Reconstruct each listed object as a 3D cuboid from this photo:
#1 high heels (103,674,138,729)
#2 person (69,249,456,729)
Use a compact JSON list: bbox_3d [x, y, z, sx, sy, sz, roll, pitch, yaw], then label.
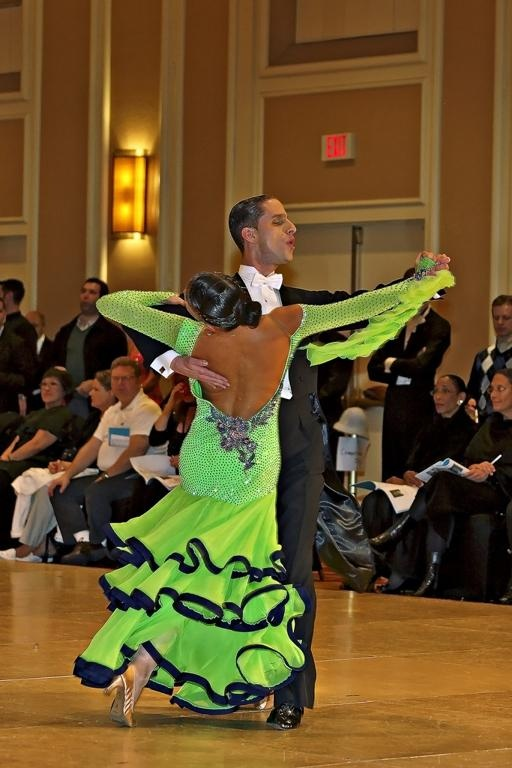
[{"bbox_3d":[-0.329,0.752,1.980,0.082,0.171,0.064,-5,4,-16],"label":"high heels"},{"bbox_3d":[-0.015,0.261,2.102,0.839,1.177,0.400,5,-9,-11],"label":"person"}]
